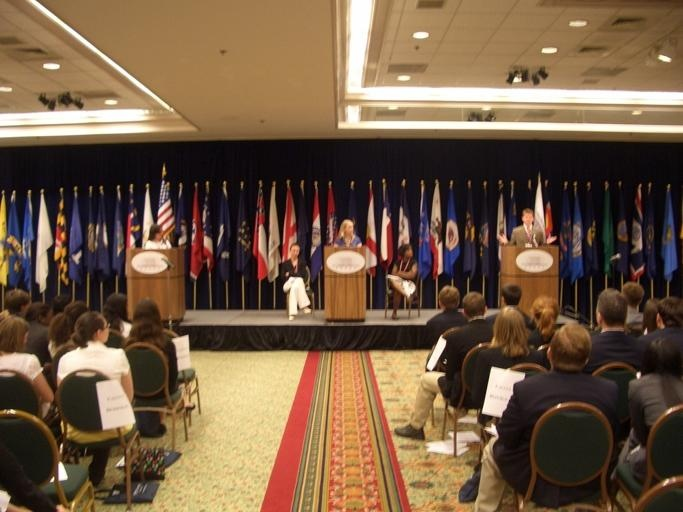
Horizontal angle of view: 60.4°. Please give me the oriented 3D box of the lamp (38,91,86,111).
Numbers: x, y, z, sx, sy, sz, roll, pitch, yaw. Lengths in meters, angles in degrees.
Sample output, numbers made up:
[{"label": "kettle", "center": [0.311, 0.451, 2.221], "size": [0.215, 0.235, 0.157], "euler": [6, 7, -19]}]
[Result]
[{"label": "lamp", "center": [-4.911, -2.734, 10.287], "size": [0.402, 0.228, 0.171], "euler": [4, 31, -9]}]

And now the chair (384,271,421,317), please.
[{"label": "chair", "center": [1.114, 0.698, 10.869], "size": [0.581, 1.084, 0.708], "euler": [0, 0, 6]}]

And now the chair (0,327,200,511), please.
[{"label": "chair", "center": [-2.169, 1.325, 5.853], "size": [0.661, 1.707, 1.287], "euler": [3, 11, 14]}]

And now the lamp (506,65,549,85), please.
[{"label": "lamp", "center": [2.995, -2.914, 9.482], "size": [0.676, 0.214, 0.729], "euler": [3, 12, 15]}]

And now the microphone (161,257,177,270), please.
[{"label": "microphone", "center": [-2.850, 0.117, 9.714], "size": [0.251, 0.233, 0.119], "euler": [-9, 13, -40]}]

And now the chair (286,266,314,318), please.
[{"label": "chair", "center": [-0.818, 0.639, 10.827], "size": [0.451, 1.033, 0.685], "euler": [0, 10, -3]}]
